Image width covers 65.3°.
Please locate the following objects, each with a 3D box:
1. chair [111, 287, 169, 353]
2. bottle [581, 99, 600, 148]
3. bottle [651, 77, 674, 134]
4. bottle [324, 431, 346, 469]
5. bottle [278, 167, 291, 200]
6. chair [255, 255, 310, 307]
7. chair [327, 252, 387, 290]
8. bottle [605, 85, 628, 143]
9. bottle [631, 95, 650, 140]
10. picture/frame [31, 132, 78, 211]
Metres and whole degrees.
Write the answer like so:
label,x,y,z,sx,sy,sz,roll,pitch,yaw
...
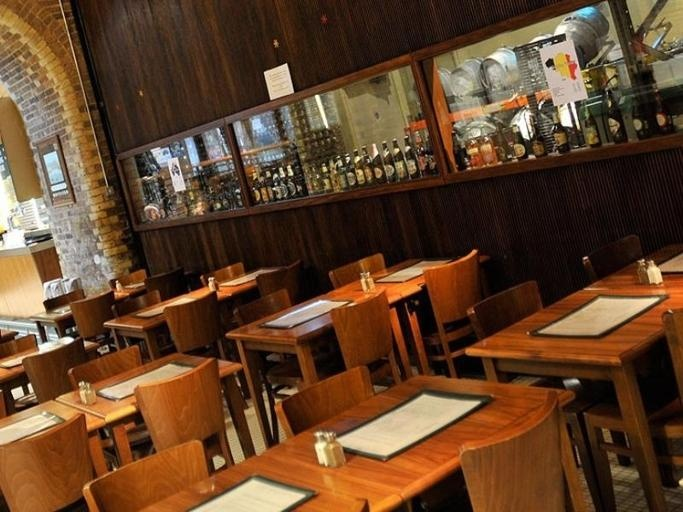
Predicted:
label,x,y,z,sx,sy,sz,roll,pitch,yaw
chair,-2.198,0.621,5.622,0.529,0.328,0.304,-13,8,-4
bottle,1.587,-0.841,3.421,0.091,0.292,0.058,-9,8,34
bottle,1.874,-0.871,3.131,0.086,0.308,0.042,-9,8,35
bottle,-0.028,0.621,1.689,0.069,0.091,0.062,-14,-13,13
bottle,-0.597,-0.760,5.545,0.076,0.256,0.259,-13,-29,1
chair,-0.550,0.260,5.302,0.451,0.608,0.406,14,21,40
chair,0.149,0.121,4.497,0.260,0.437,0.250,-21,1,-26
bottle,1.686,-0.874,3.312,0.097,0.342,0.040,-7,9,44
bottle,1.792,-0.836,3.217,0.088,0.257,0.029,-7,9,44
picture/frame,-4.685,-1.368,8.741,0.211,1.207,1.091,-19,9,-37
